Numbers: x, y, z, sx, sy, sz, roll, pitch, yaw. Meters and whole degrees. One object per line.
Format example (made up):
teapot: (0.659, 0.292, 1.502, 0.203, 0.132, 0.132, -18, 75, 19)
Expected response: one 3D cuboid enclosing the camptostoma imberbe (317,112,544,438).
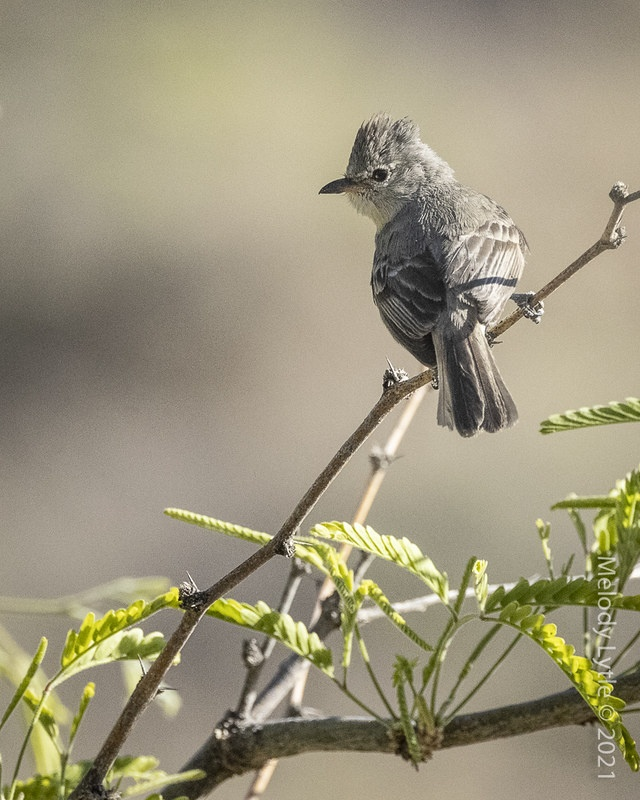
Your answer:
camptostoma imberbe: (0.202, -0.255, 2.244, 0.474, 0.846, 0.381, -5, -41, 10)
